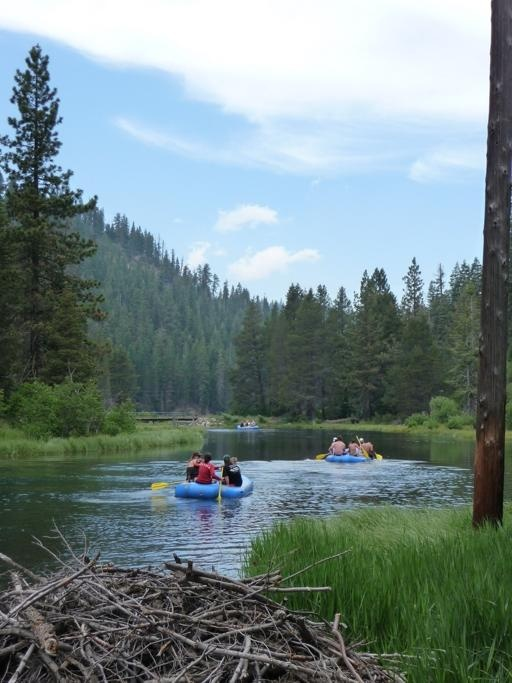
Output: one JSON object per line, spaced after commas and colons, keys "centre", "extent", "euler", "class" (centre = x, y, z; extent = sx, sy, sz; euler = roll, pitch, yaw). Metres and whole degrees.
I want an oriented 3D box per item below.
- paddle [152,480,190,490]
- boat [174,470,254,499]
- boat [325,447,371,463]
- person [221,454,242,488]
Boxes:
{"centre": [-1.955, 3.358, 21.352], "extent": [0.098, 0.127, 1.137], "euler": [-30, -26, 23], "class": "paddle"}
{"centre": [-0.962, 3.288, 20.289], "extent": [1.568, 0.324, 1.404], "euler": [-3, -4, 15], "class": "boat"}
{"centre": [3.203, 4.104, 31.939], "extent": [1.667, 0.256, 1.549], "euler": [-2, -4, 7], "class": "boat"}
{"centre": [-0.552, 2.907, 20.539], "extent": [0.601, 0.875, 0.492], "euler": [1, -6, -11], "class": "person"}
